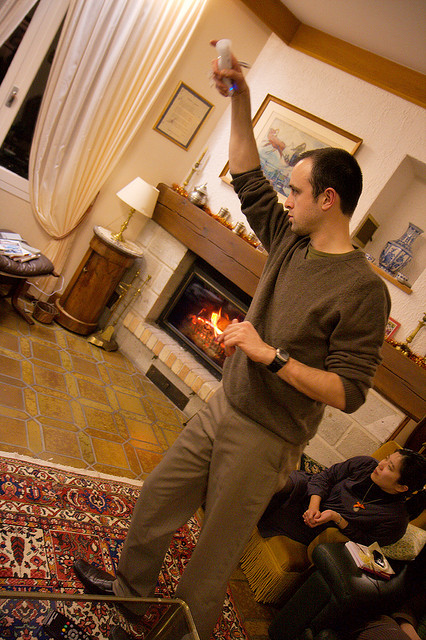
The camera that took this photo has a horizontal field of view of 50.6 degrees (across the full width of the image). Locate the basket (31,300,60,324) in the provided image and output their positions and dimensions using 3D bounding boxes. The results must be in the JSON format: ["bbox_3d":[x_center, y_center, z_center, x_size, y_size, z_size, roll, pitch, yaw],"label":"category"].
[{"bbox_3d":[-1.326,-0.059,3.527,0.200,0.171,0.180,36,7,-10],"label":"basket"}]

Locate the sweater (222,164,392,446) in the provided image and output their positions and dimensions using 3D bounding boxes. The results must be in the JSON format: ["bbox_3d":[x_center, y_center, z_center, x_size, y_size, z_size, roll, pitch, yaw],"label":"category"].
[{"bbox_3d":[0.264,-0.174,1.392,0.554,1.015,0.292,11,-5,33],"label":"sweater"}]

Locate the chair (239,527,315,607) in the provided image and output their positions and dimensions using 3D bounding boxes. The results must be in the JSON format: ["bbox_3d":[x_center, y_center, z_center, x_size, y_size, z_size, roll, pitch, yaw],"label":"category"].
[{"bbox_3d":[0.344,1.161,2.219,0.238,0.337,0.245,37,-1,-19],"label":"chair"}]

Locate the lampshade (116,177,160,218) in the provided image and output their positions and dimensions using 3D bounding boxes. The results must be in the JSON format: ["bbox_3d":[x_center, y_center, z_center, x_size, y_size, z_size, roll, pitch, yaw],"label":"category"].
[{"bbox_3d":[-0.629,-0.968,3.631,0.291,0.319,0.260,-5,18,-39],"label":"lampshade"}]
